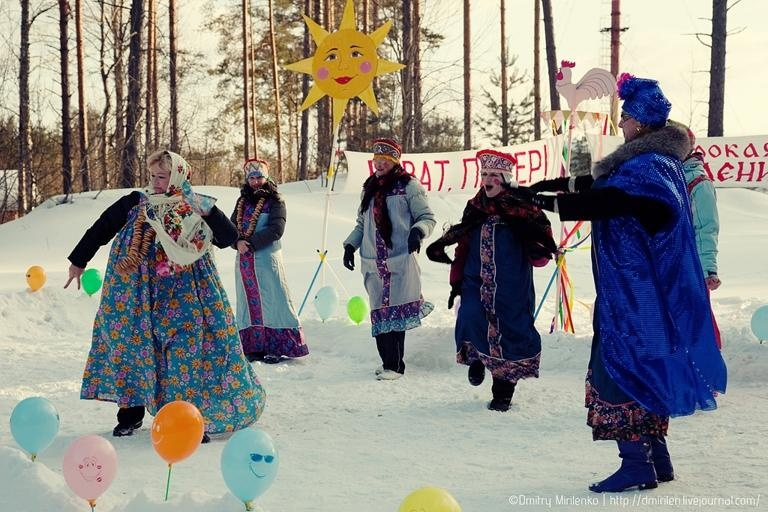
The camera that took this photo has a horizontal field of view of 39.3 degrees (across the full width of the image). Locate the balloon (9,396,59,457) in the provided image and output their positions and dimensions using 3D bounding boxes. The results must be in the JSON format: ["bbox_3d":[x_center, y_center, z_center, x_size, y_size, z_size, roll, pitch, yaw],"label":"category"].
[{"bbox_3d":[-3.802,1.907,11.752,0.490,0.659,0.197,-6,6,-17],"label":"balloon"}]

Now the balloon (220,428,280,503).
[{"bbox_3d":[-1.396,2.229,11.222,0.791,0.614,1.171,-4,11,-15],"label":"balloon"}]

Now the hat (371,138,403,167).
[{"bbox_3d":[0.040,-1.341,14.167,0.296,0.283,0.355,5,0,10],"label":"hat"}]

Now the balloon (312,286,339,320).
[{"bbox_3d":[-0.870,0.745,16.350,0.338,0.530,0.536,-4,5,-6],"label":"balloon"}]

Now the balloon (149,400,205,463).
[{"bbox_3d":[-2.149,1.837,11.404,0.464,0.672,0.587,1,-2,-6],"label":"balloon"}]

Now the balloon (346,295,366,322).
[{"bbox_3d":[-0.340,0.812,15.737,0.326,0.414,0.340,-1,-4,0],"label":"balloon"}]

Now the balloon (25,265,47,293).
[{"bbox_3d":[-5.555,0.385,17.197,0.260,0.382,0.366,-6,6,-19],"label":"balloon"}]

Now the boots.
[{"bbox_3d":[2.713,2.255,11.725,0.954,0.550,0.554,0,4,-2],"label":"boots"}]

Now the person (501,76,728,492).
[{"bbox_3d":[2.755,0.580,11.442,1.528,3.814,0.538,-3,6,9],"label":"person"}]

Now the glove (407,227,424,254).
[{"bbox_3d":[0.386,-0.182,13.515,0.096,0.276,0.203,10,-4,-22],"label":"glove"}]
